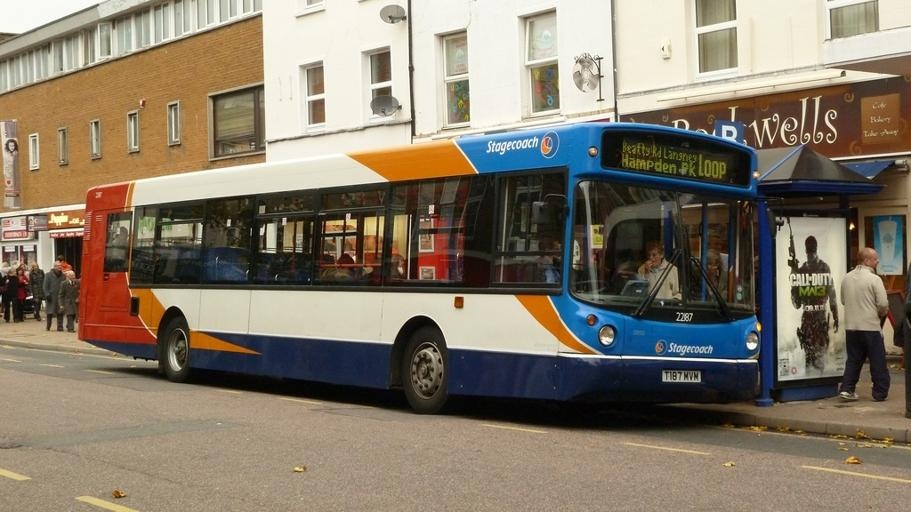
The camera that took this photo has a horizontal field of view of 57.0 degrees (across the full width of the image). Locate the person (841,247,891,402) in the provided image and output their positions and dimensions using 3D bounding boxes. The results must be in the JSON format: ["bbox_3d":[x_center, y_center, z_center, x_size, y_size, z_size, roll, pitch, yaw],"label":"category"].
[{"bbox_3d":[7.981,1.329,16.360,0.855,2.920,0.773,4,6,39],"label":"person"}]

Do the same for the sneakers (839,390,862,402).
[{"bbox_3d":[7.748,2.707,16.447,0.451,0.202,0.166,1,-1,-31],"label":"sneakers"}]

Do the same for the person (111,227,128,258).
[{"bbox_3d":[-8.434,-0.342,21.090,0.218,0.741,0.537,12,-9,-34],"label":"person"}]
